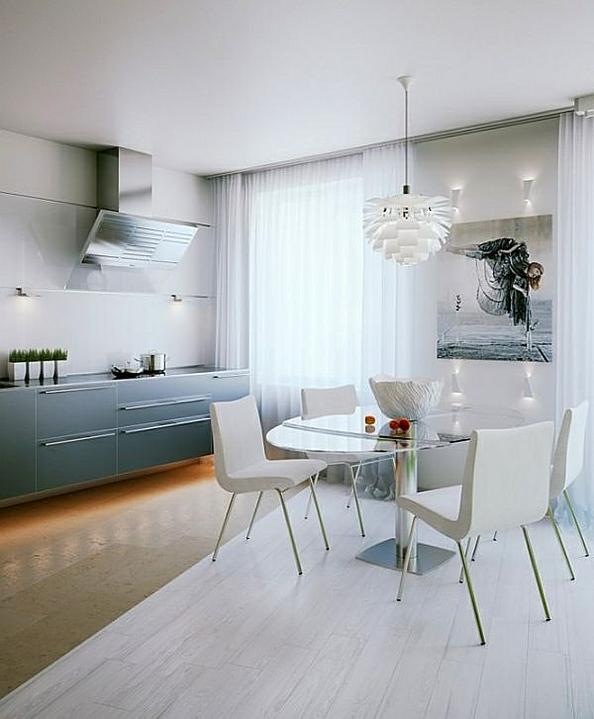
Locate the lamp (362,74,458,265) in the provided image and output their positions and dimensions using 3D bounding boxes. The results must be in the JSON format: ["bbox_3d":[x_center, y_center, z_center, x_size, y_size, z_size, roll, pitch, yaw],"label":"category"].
[{"bbox_3d":[0.631,-1.052,2.836,0.453,1.047,1.308,-1,6,17],"label":"lamp"}]

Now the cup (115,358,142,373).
[{"bbox_3d":[-1.491,0.054,4.471,0.191,0.078,0.134,1,0,-43],"label":"cup"}]

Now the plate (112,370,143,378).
[{"bbox_3d":[-1.419,0.130,4.133,0.118,0.047,0.121,-2,-4,36],"label":"plate"}]

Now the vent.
[{"bbox_3d":[-1.375,-1.278,4.196,0.399,0.914,0.850,6,9,29],"label":"vent"}]

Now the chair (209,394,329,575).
[{"bbox_3d":[-0.103,0.624,2.962,0.696,1.297,0.645,0,0,23],"label":"chair"}]

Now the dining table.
[{"bbox_3d":[0.361,0.570,2.390,0.778,0.492,0.801,-2,-1,44],"label":"dining table"}]

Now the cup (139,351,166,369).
[{"bbox_3d":[-1.286,0.024,4.464,0.136,0.184,0.169,0,1,3],"label":"cup"}]
